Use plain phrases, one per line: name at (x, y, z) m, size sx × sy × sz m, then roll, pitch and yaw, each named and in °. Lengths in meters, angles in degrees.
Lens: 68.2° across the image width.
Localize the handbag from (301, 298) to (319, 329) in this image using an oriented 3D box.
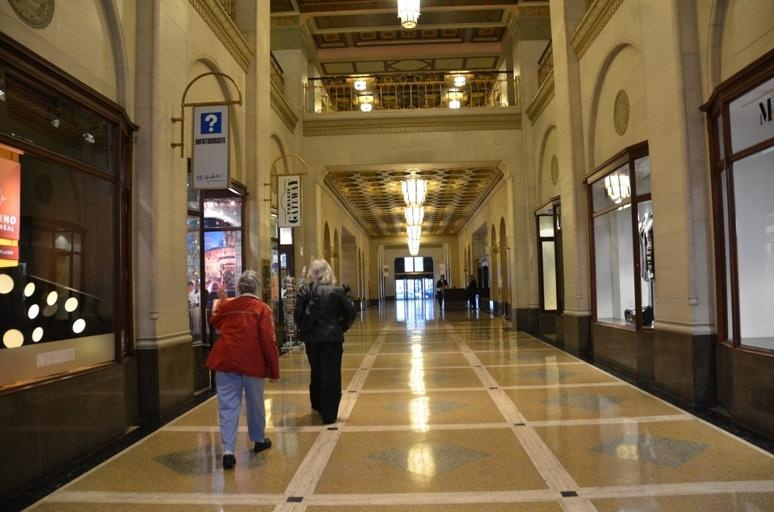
handbag at (-1.039, 0.763, 7.627) m, size 0.120 × 0.400 × 0.276 m, roll 10°, pitch -5°, yaw -30°

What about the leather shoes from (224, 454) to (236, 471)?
leather shoes at (-1.763, 2.259, 6.355) m, size 0.150 × 0.138 × 0.183 m, roll -2°, pitch 3°, yaw -18°

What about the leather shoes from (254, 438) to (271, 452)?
leather shoes at (-1.475, 2.206, 6.777) m, size 0.089 × 0.098 × 0.237 m, roll 2°, pitch 7°, yaw 17°

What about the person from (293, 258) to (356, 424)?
person at (-0.826, 1.126, 7.724) m, size 0.811 × 2.136 × 0.513 m, roll 1°, pitch 3°, yaw 39°

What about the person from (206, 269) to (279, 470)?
person at (-1.653, 1.247, 6.568) m, size 0.802 × 2.128 × 0.551 m, roll -2°, pitch 3°, yaw -19°
